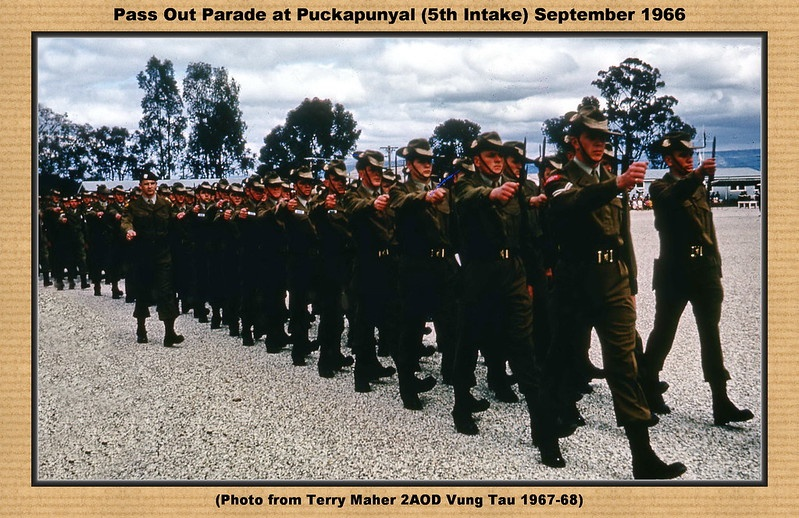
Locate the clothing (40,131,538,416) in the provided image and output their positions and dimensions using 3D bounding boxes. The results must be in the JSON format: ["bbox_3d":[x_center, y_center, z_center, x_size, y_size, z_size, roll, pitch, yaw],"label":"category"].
[{"bbox_3d":[-1.190,0.202,14.064,7.134,2.807,3.826,-3,-3,30],"label":"clothing"}]

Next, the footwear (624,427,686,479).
[{"bbox_3d":[2.913,2.205,10.736,0.663,0.637,0.181,1,15,11],"label":"footwear"}]

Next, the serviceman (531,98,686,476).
[{"bbox_3d":[2.305,0.351,10.942,1.140,4.088,1.711,-13,19,-35],"label":"serviceman"}]
